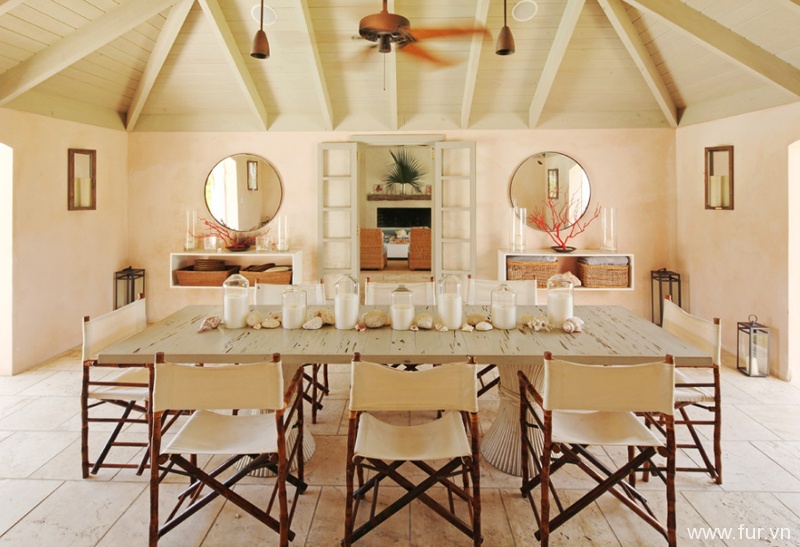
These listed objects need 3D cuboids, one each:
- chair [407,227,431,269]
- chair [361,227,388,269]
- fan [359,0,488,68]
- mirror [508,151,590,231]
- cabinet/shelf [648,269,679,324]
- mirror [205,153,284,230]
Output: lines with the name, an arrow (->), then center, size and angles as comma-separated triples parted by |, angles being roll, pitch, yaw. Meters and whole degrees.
chair -> 0.355, -0.490, 11.386 | 0.598, 0.916, 1.083 | 1, 3, 3
chair -> -0.543, -0.485, 11.423 | 0.574, 0.755, 0.741 | -1, 5, 1
fan -> 0.249, -2.369, 5.952 | 0.888, 0.377, 0.954 | 4, 13, 16
mirror -> 1.815, -1.069, 7.487 | 0.957, 0.930, 0.065 | -2, 5, -3
cabinet/shelf -> 3.243, 0.276, 7.308 | 0.242, 0.544, 0.240 | -14, -7, 17
mirror -> -1.931, -1.072, 7.585 | 0.918, 0.928, 0.092 | 3, 8, -4
